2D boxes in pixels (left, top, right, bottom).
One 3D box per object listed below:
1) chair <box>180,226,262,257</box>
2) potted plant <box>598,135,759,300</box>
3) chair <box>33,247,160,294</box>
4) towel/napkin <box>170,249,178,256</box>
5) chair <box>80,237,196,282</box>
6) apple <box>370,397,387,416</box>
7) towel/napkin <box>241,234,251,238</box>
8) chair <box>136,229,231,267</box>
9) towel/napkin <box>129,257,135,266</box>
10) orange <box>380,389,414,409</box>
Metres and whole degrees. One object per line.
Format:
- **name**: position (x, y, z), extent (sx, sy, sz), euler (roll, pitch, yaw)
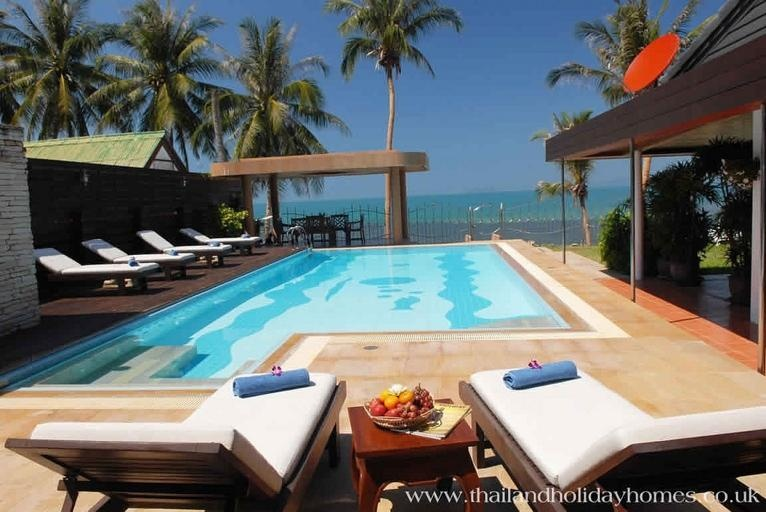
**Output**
- **chair**: position (-4.776, -0.441, 13.871), extent (1.893, 0.823, 0.983), euler (0, 7, -1)
- **potted plant**: position (5.245, -0.636, 8.555), extent (2.630, 1.938, 2.704), euler (-20, 16, -36)
- **chair**: position (-5.383, 0.261, 8.941), extent (2.057, 0.896, 0.947), euler (1, 9, -1)
- **towel/napkin**: position (-4.641, -0.074, 10.376), extent (0.131, 0.061, 0.184), euler (-1, 8, -21)
- **chair**: position (-5.271, -0.004, 10.099), extent (2.258, 0.978, 1.035), euler (1, 10, 1)
- **apple**: position (-0.032, 1.039, 3.232), extent (0.098, 0.096, 0.095), euler (2, -7, -2)
- **towel/napkin**: position (-4.369, -0.652, 14.921), extent (0.265, 0.089, 0.262), euler (-2, 4, -37)
- **chair**: position (-4.988, -0.245, 11.838), extent (2.141, 0.939, 1.084), euler (2, 13, 0)
- **towel/napkin**: position (-4.776, 0.109, 8.942), extent (0.134, 0.129, 0.132), euler (4, 3, -13)
- **orange**: position (0.095, 0.986, 3.261), extent (0.187, 0.086, 0.115), euler (-11, 7, -3)
